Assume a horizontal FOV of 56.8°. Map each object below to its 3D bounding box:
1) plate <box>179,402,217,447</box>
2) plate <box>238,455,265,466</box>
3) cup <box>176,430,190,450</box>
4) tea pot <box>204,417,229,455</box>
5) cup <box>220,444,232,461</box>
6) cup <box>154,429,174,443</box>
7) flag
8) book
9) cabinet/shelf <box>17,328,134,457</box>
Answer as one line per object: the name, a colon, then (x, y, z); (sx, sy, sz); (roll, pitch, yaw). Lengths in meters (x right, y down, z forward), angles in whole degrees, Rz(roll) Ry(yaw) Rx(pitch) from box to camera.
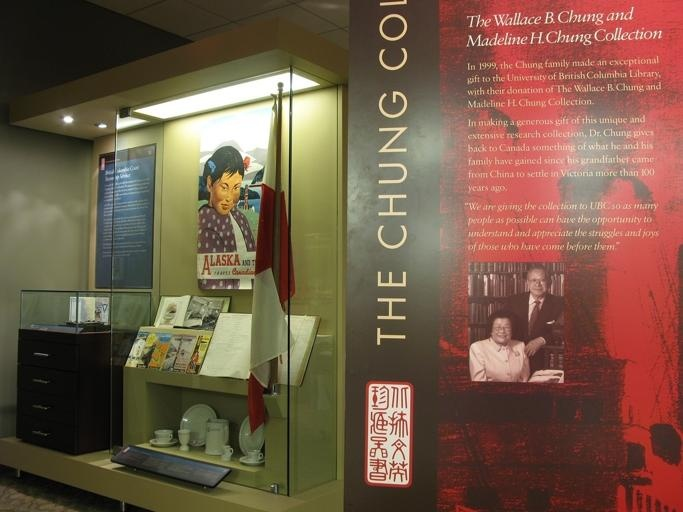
plate: (-1.108, 1.297, 4.852); (0.294, 0.308, 0.033); (-21, -14, 18)
plate: (-0.633, 1.431, 4.427); (0.097, 0.042, 0.099); (-1, -4, 36)
cup: (-1.194, 1.396, 4.787); (0.111, 0.157, 0.117); (-1, -13, 0)
tea pot: (-0.918, 1.345, 4.769); (0.210, 0.228, 0.208); (3, 1, 0)
cup: (-0.820, 1.420, 4.510); (0.095, 0.094, 0.060); (0, -4, -10)
cup: (-1.381, 1.392, 4.878); (0.102, 0.065, 0.089); (5, -5, 4)
flag: (-0.475, 0.034, 4.281); (0.296, 2.249, 0.203); (-5, -8, 39)
book: (-1.264, 0.618, 4.865); (0.581, 0.425, 0.234); (2, -9, 34)
cabinet/shelf: (-2.274, 1.146, 5.511); (0.941, 0.966, 0.712); (-3, -3, 36)
